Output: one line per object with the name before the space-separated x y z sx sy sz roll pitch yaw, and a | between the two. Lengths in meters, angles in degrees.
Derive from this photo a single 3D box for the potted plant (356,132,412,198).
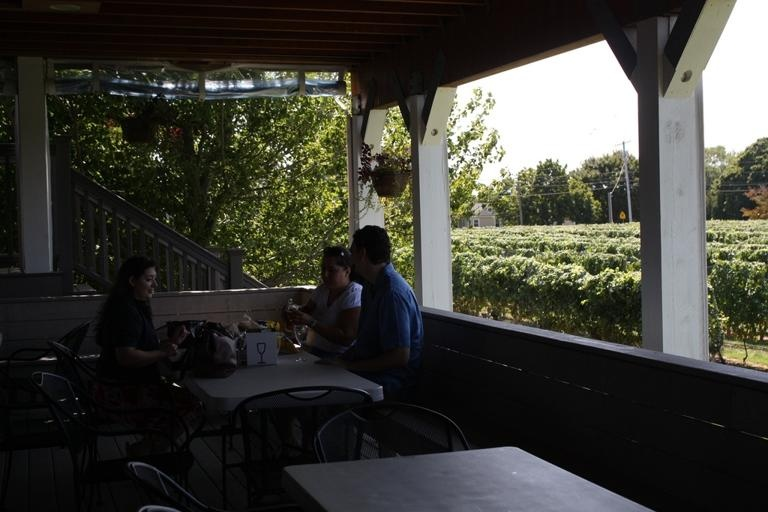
potted plant | 0.086 -0.971 6.953 0.513 0.648 0.602 0 1 19

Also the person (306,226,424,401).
person | -0.221 0.362 4.854 0.878 1.800 1.094 0 -1 -7

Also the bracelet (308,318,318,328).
bracelet | -0.518 0.489 4.406 0.093 0.029 0.097 0 3 1
